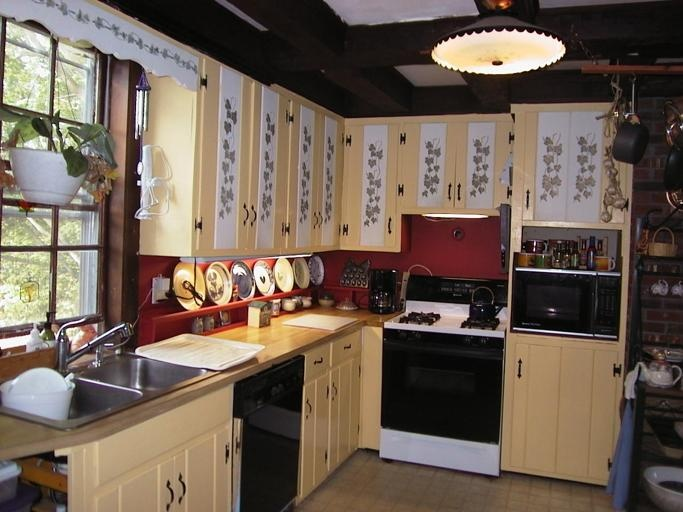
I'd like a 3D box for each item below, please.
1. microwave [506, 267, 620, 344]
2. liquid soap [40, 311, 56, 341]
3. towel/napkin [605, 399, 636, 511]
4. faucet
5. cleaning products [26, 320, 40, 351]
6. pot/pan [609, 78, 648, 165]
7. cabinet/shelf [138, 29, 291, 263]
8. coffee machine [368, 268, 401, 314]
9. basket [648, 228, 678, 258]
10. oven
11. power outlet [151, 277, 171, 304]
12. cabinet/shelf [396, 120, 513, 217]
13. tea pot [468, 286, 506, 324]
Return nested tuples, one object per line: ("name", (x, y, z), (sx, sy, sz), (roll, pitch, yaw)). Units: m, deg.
("microwave", (1.677, 0.349, 3.958), (0.737, 0.571, 0.472), (1, 0, 18))
("liquid soap", (-1.549, 0.362, 2.807), (0.061, 0.147, 0.132), (-1, 4, -29))
("towel/napkin", (1.887, 1.344, 3.574), (0.119, 0.802, 0.198), (1, 3, 9))
("faucet", (-1.335, 0.445, 2.854), (0.348, 0.276, 0.494), (-1, 4, -29))
("cleaning products", (-1.582, 0.409, 2.733), (0.069, 0.128, 0.157), (-1, 4, -30))
("pot/pan", (1.632, -0.755, 3.007), (0.176, 0.467, 0.260), (2, 4, 29))
("cabinet/shelf", (-0.769, -0.590, 3.486), (0.359, 1.198, 1.086), (3, 4, 32))
("coffee machine", (0.372, 0.301, 4.687), (0.314, 0.474, 0.342), (0, -8, 7))
("basket", (2.200, -0.102, 3.654), (0.159, 0.192, 0.313), (3, 4, 31))
("oven", (0.850, 1.074, 4.344), (0.985, 1.013, 0.700), (2, -12, 18))
("power outlet", (-1.149, 0.214, 3.368), (0.051, 0.169, 0.160), (-1, -3, 19))
("cabinet/shelf", (0.977, -0.742, 4.428), (0.737, 0.698, 0.305), (2, 5, 17))
("tea pot", (1.183, 0.403, 4.416), (0.349, 0.324, 0.204), (1, -4, -37))
